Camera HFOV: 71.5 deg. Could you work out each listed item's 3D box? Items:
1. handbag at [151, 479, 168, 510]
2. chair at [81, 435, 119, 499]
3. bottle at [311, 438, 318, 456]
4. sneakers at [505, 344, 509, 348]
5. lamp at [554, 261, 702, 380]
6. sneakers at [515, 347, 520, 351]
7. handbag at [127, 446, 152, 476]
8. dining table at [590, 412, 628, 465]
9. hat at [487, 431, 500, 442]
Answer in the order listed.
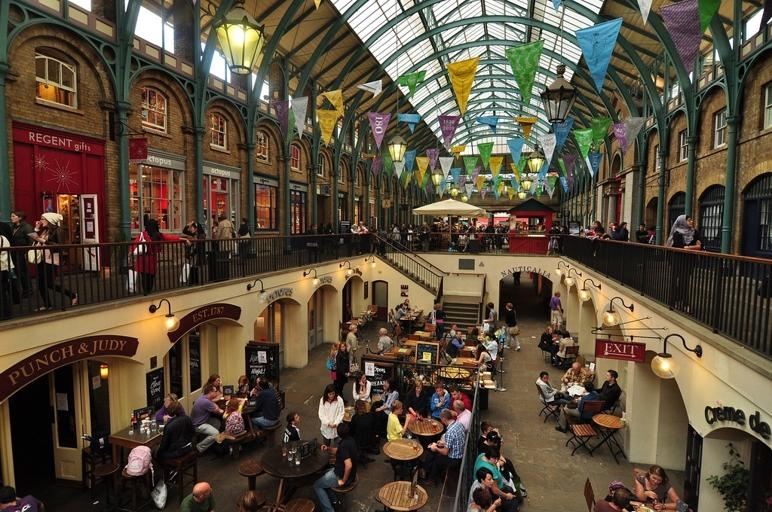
[{"bbox_3d":[-6.473,6.904,15.461,0.570,1.027,0.222,14,-25,-41],"label":"handbag"},{"bbox_3d":[-8.300,6.231,15.749,0.739,1.792,1.266,-2,2,-43],"label":"chair"},{"bbox_3d":[-2.030,5.411,15.306,0.169,0.461,0.334,-1,1,-9],"label":"bottle"},{"bbox_3d":[6.045,4.527,26.917,0.109,0.155,0.336,-1,-4,-15],"label":"sneakers"},{"bbox_3d":[7.836,2.339,17.571,1.552,2.257,5.277,5,10,-13],"label":"lamp"},{"bbox_3d":[6.478,4.578,26.581,0.121,0.180,0.375,-5,-9,38],"label":"sneakers"},{"bbox_3d":[-6.893,5.769,15.254,0.579,0.823,0.812,1,-1,1],"label":"handbag"},{"bbox_3d":[7.371,5.946,18.135,1.219,1.569,1.311,4,10,31],"label":"dining table"},{"bbox_3d":[3.116,5.215,15.591,0.246,0.318,0.321,3,36,-8],"label":"hat"}]
